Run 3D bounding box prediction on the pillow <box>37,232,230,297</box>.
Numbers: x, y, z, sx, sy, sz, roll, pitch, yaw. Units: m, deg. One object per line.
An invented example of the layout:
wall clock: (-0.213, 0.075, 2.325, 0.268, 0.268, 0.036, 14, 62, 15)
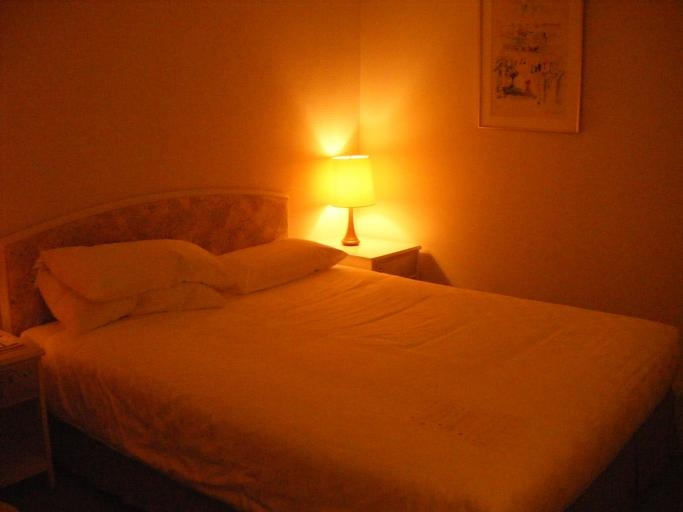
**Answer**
pillow: (-0.900, 0.040, 2.378, 0.507, 0.129, 0.326, -11, 44, -44)
